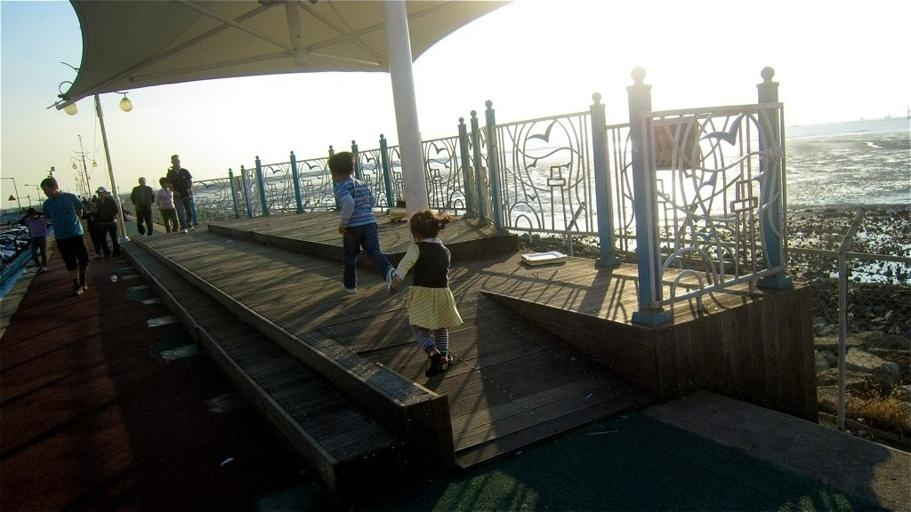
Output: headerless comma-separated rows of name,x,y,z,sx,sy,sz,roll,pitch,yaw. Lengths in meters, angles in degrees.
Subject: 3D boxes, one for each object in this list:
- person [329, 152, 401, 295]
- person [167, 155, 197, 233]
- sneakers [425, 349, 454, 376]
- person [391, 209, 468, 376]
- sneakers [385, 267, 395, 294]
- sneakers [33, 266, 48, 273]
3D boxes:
person,-1.413,-0.489,7.474,0.682,2.047,0.680,-8,12,-12
person,-8.550,-1.927,15.955,0.701,2.324,1.408,-11,13,-26
sneakers,-0.174,1.209,5.760,0.187,0.355,0.171,7,18,-30
person,-0.266,0.396,5.898,0.691,1.820,0.639,-9,13,-20
sneakers,-0.844,0.313,6.650,0.162,0.434,0.173,-1,46,-10
sneakers,-12.239,0.381,15.005,0.346,0.112,0.124,9,-26,2
